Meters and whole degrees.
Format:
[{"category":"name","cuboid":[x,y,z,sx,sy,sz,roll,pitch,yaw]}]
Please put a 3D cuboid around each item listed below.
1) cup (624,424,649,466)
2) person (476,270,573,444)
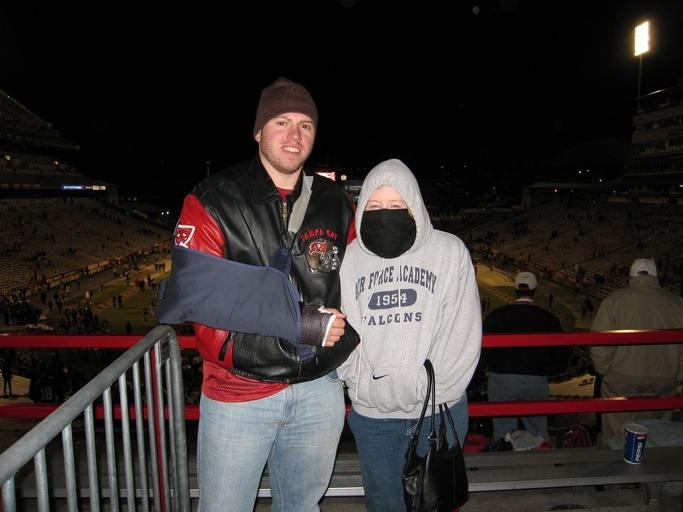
[{"category":"cup","cuboid":[2.120,1.357,3.919,0.151,0.280,0.231,-4,-11,26]},{"category":"person","cuboid":[1.796,0.985,5.381,0.872,1.747,1.440,-2,-11,21]}]
